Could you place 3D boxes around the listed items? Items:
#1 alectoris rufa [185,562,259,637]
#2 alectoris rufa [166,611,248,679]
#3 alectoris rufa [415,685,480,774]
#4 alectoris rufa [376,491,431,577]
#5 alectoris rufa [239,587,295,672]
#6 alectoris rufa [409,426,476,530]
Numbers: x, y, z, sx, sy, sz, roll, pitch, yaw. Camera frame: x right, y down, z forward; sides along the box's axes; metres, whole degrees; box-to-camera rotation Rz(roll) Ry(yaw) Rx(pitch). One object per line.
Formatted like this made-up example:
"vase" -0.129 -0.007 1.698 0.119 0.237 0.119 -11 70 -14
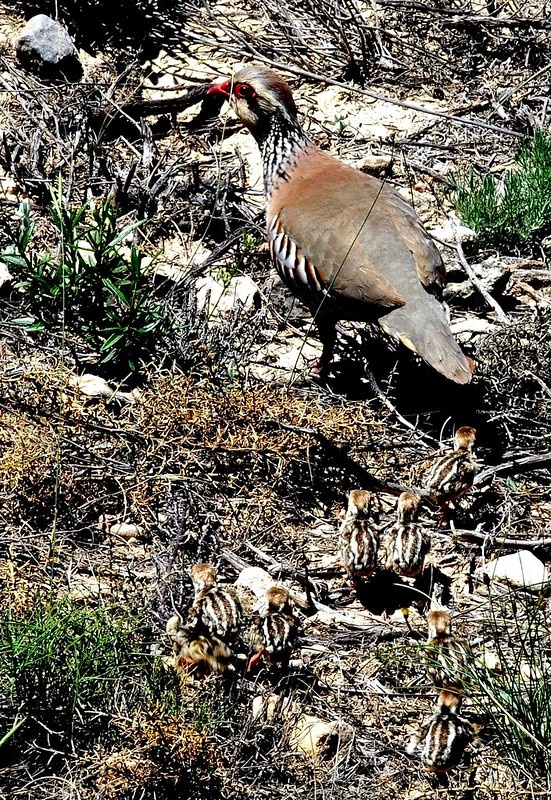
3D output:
"alectoris rufa" -0.251 0.987 5.238 0.246 0.257 0.391 -19 40 -16
"alectoris rufa" -0.324 1.142 5.050 0.356 0.171 0.235 33 -30 -17
"alectoris rufa" 0.748 1.478 4.937 0.313 0.166 0.435 6 34 23
"alectoris rufa" 0.676 0.669 5.579 0.239 0.393 0.298 1 -23 6
"alectoris rufa" -0.002 1.063 5.200 0.262 0.303 0.386 4 18 -6
"alectoris rufa" 0.876 0.409 5.827 0.292 0.302 0.564 13 48 33
